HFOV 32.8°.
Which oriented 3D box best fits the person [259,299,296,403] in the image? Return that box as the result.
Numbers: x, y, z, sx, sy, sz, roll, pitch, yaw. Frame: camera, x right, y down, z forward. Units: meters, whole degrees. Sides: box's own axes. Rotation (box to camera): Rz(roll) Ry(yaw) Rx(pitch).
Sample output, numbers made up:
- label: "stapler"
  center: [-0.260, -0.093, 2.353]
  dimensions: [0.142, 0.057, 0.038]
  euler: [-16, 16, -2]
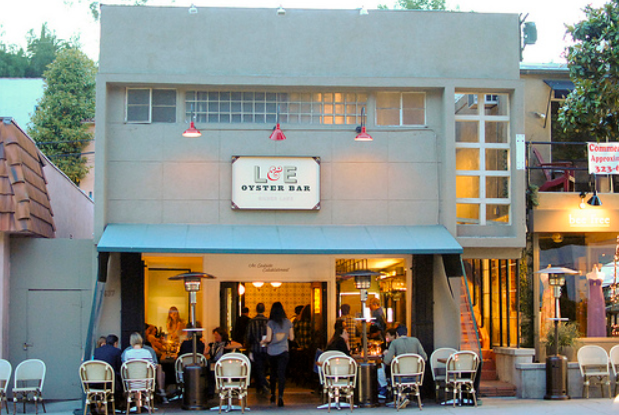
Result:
- label: "person"
  center: [-0.886, 4.045, 29.770]
  dimensions: [0.762, 2.899, 0.726]
  euler: [-8, -10, 32]

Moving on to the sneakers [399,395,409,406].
- label: "sneakers"
  center: [2.656, 5.259, 28.916]
  dimensions: [0.197, 0.287, 0.564]
  euler: [-6, -10, 20]

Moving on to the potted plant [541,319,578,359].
- label: "potted plant"
  center: [7.569, 3.905, 31.628]
  dimensions: [1.026, 1.208, 1.105]
  euler: [1, -7, -1]

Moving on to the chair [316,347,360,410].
- label: "chair"
  center: [0.848, 4.632, 29.135]
  dimensions: [1.333, 1.877, 1.360]
  euler: [0, -2, 1]

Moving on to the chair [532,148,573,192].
- label: "chair"
  center: [7.545, -1.205, 32.732]
  dimensions: [1.337, 1.721, 1.230]
  euler: [0, 0, 16]

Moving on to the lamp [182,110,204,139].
- label: "lamp"
  center: [-3.279, -2.345, 29.848]
  dimensions: [0.607, 0.655, 0.614]
  euler: [0, -3, -5]
